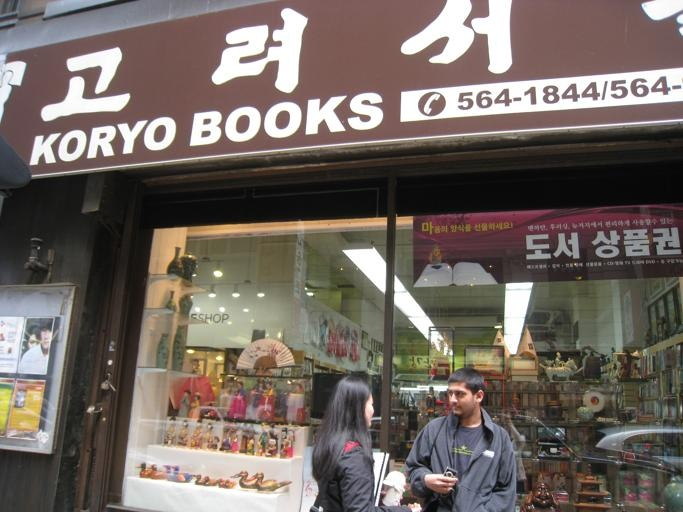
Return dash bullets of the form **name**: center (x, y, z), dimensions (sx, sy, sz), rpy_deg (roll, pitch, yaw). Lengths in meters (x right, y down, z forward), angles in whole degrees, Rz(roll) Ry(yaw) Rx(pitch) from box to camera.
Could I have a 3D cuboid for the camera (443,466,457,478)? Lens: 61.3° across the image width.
- **camera**: center (0.728, 1.426, 3.797), dimensions (0.074, 0.093, 0.061), rpy_deg (-17, -19, 37)
